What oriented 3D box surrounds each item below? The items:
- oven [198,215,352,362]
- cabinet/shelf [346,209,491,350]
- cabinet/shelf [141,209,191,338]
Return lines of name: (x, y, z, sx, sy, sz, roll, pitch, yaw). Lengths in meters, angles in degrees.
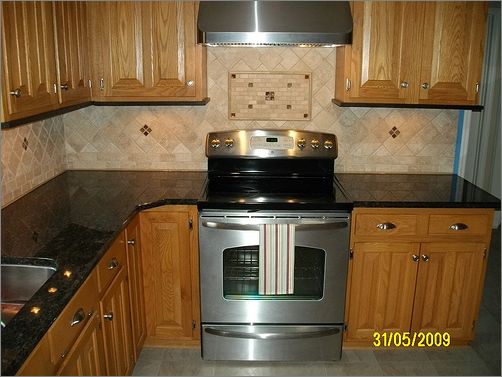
oven: (0.158, 0.559, 3.067, 1.114, 1.322, 0.929, 0, 12, 1)
cabinet/shelf: (1.124, 0.592, 2.718, 0.891, 1.040, 0.506, 0, 15, 2)
cabinet/shelf: (-0.578, 0.611, 2.720, 0.365, 0.861, 0.420, 3, -11, -6)
